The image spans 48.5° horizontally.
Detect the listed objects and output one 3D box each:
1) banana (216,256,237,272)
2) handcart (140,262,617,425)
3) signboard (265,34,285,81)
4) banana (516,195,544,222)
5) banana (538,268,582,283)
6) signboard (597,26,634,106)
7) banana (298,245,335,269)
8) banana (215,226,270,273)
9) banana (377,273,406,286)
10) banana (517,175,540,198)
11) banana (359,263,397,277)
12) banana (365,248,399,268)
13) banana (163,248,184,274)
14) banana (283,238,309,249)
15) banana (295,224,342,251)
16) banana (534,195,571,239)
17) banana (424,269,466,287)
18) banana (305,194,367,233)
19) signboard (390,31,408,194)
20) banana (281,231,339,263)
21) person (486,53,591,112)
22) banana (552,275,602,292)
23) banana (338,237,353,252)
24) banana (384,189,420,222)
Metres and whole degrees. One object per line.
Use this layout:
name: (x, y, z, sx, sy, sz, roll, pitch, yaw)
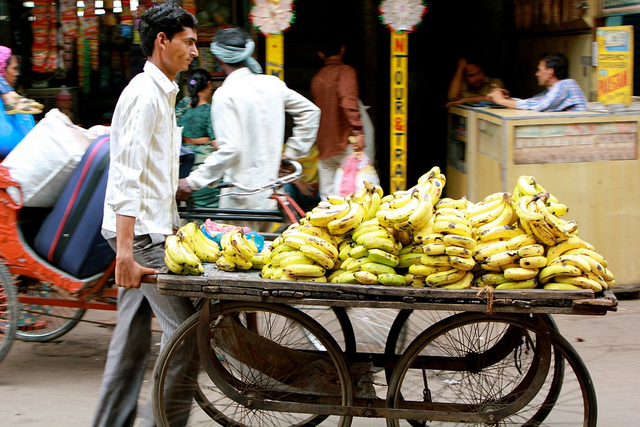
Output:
banana: (-0.582, 0.322, 4.404, 0.118, 0.050, 0.080, 23, -24, -6)
handcart: (0.323, 0.901, 4.694, 2.797, 1.341, 0.996, -3, 13, 1)
signboard: (-0.476, -1.710, 7.750, 0.172, 0.474, 0.342, 2, 14, 22)
banana: (1.273, -0.021, 4.321, 0.189, 0.074, 0.295, 11, 29, 15)
banana: (1.419, 0.357, 4.218, 0.137, 0.038, 0.113, -22, -29, 31)
signboard: (3.061, -1.514, 7.261, 0.284, 0.772, 0.484, -9, 14, -19)
banana: (-0.019, 0.264, 4.284, 0.197, 0.163, 0.048, -3, 14, 0)
banana: (-0.472, 0.217, 4.421, 0.252, 0.159, 0.310, 5, 23, -14)
banana: (0.433, 0.398, 4.275, 0.157, 0.062, 0.049, 7, -1, -12)
banana: (1.291, -0.162, 4.426, 0.123, 0.058, 0.207, 3, 27, 5)
banana: (0.345, 0.330, 4.229, 0.257, 0.063, 0.070, 7, -13, -10)
banana: (0.378, 0.261, 4.255, 0.193, 0.078, 0.061, 18, 24, -11)
banana: (-0.913, 0.292, 4.348, 0.160, 0.094, 0.049, 42, 40, 15)
banana: (-0.146, 0.178, 4.294, 0.160, 0.059, 0.030, 3, 15, 27)
banana: (0.001, 0.148, 4.417, 0.354, 0.096, 0.085, 15, -11, -1)
banana: (1.364, 0.046, 4.229, 0.253, 0.158, 0.250, -9, 36, 9)
banana: (0.744, 0.377, 4.204, 0.290, 0.087, 0.093, -7, 22, -13)
banana: (0.141, 0.036, 4.341, 0.274, 0.140, 0.154, -13, 15, 22)
signboard: (0.867, -1.123, 7.861, 0.195, 1.749, 0.325, 5, 17, 31)
banana: (-0.042, 0.186, 4.332, 0.338, 0.144, 0.084, 23, -33, -9)
person: (2.284, -1.356, 7.314, 0.764, 0.582, 0.861, -4, 12, -5)
banana: (1.530, 0.415, 4.228, 0.277, 0.100, 0.046, -1, 14, 6)
banana: (0.152, 0.189, 4.402, 0.107, 0.035, 0.049, -37, 45, 0)
banana: (0.499, -0.041, 4.265, 0.211, 0.065, 0.140, -41, 22, -27)
